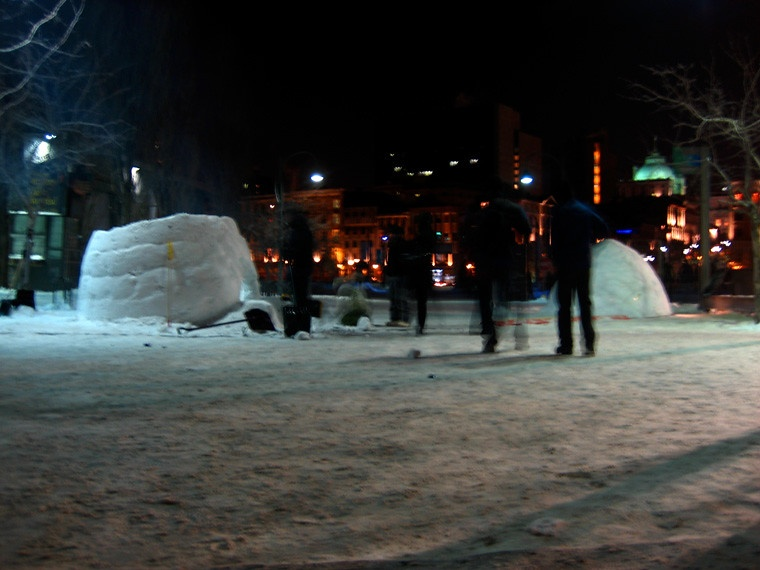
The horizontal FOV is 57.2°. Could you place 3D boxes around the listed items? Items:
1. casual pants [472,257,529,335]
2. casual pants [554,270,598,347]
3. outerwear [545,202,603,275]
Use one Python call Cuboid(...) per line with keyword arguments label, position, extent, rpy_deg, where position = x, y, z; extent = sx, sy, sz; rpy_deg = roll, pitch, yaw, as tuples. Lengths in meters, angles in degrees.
Cuboid(label="casual pants", position=(2.089, 0.167, 12.032), extent=(0.914, 1.180, 2.162), rpy_deg=(-2, -25, 3))
Cuboid(label="casual pants", position=(2.862, 0.380, 10.167), extent=(0.523, 1.250, 0.680), rpy_deg=(1, 4, 16))
Cuboid(label="outerwear", position=(2.858, -0.742, 10.212), extent=(0.655, 1.037, 0.782), rpy_deg=(2, 4, 28))
